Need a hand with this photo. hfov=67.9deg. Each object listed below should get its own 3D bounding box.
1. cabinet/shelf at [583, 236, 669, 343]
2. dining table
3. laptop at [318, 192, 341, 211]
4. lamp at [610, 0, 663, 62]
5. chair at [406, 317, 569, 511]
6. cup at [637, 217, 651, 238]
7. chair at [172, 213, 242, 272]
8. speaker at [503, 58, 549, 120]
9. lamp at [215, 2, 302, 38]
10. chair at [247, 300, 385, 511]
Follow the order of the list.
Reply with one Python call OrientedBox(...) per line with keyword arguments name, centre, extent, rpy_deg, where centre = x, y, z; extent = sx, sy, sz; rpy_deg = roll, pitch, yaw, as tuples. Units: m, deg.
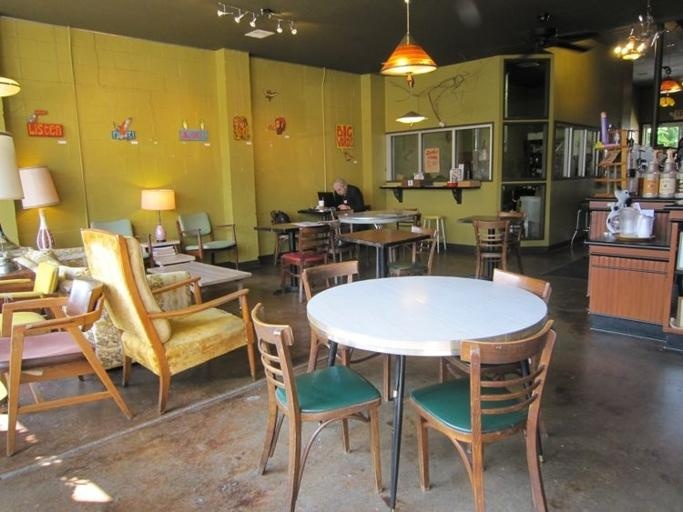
OrientedBox(name="cabinet/shelf", centre=(2.634, 0.330, 4.662), extent=(0.631, 0.870, 0.204), rpy_deg=(2, 15, 30))
OrientedBox(name="dining table", centre=(0.431, 0.881, 3.211), extent=(1.367, 0.877, 1.384), rpy_deg=(7, 15, 39))
OrientedBox(name="laptop", centre=(-0.218, -0.952, 8.710), extent=(0.308, 0.222, 0.370), rpy_deg=(6, 8, 38))
OrientedBox(name="lamp", centre=(3.941, -2.913, 6.668), extent=(0.483, 0.643, 2.530), rpy_deg=(3, 13, 31))
OrientedBox(name="chair", centre=(0.836, 0.886, 2.945), extent=(0.725, 1.106, 0.857), rpy_deg=(3, 14, 31))
OrientedBox(name="cup", centre=(2.821, -0.269, 4.679), extent=(0.158, 0.232, 0.072), rpy_deg=(-8, 13, -15))
OrientedBox(name="chair", centre=(-1.908, -0.182, 7.797), extent=(0.847, 1.167, 0.935), rpy_deg=(9, 14, 43))
OrientedBox(name="speaker", centre=(3.159, -2.907, 8.683), extent=(0.853, 1.190, 0.801), rpy_deg=(-2, 10, 5))
OrientedBox(name="lamp", centre=(-1.054, -2.978, 6.461), extent=(0.829, 0.184, 1.333), rpy_deg=(-2, 11, 16))
OrientedBox(name="chair", centre=(-0.181, 0.831, 3.079), extent=(0.734, 1.174, 0.678), rpy_deg=(-10, 13, -22))
